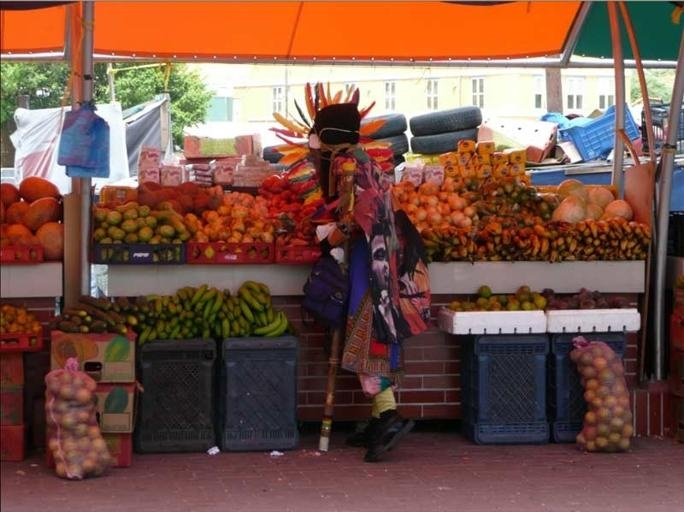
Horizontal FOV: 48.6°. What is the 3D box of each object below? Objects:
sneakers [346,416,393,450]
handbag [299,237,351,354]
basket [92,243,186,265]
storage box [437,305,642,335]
[{"bbox_3d":[0.217,1.478,6.318,0.362,0.252,0.151,2,2,11],"label":"sneakers"},{"bbox_3d":[-0.142,0.280,6.097,0.255,0.724,0.405,1,9,-16],"label":"handbag"},{"bbox_3d":[-1.687,-0.020,6.324,0.764,0.172,0.052,-1,9,-8],"label":"basket"},{"bbox_3d":[1.655,0.549,6.243,1.538,0.202,0.114,0,9,-2],"label":"storage box"}]
